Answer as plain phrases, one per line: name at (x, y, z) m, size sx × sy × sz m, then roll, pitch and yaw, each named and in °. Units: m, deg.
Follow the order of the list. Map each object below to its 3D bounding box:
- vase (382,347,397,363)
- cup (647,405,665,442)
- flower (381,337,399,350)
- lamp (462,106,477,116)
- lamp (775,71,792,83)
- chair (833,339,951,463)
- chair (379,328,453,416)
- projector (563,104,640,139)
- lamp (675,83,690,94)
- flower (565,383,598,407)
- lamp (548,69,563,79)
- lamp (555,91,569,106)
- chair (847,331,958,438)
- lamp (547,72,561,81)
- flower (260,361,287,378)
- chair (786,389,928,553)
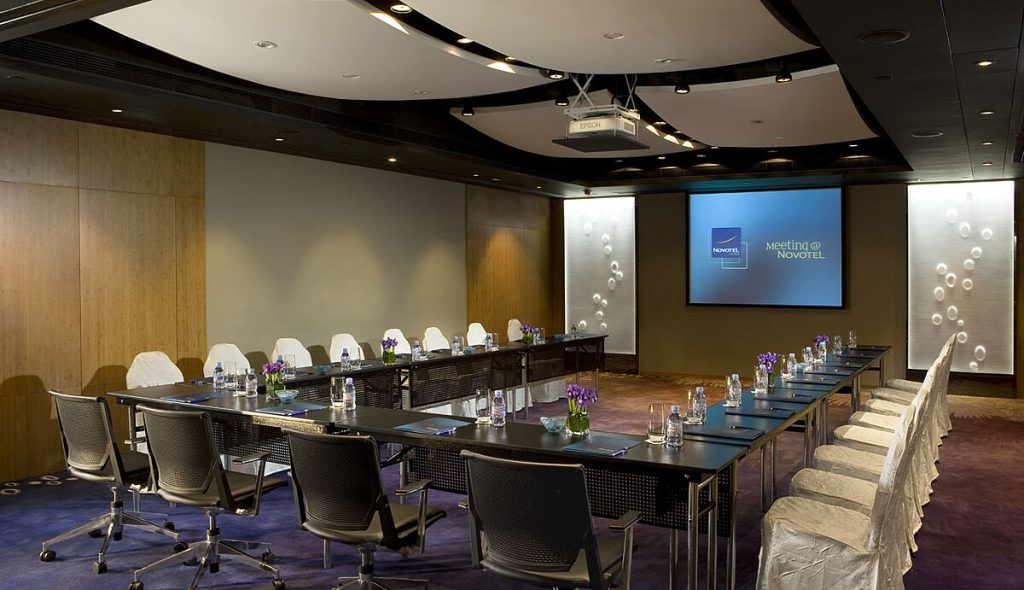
vase at (-1.674, 0.787, 8.989) m, size 0.214 × 0.238 × 0.215 m, roll -3°, pitch -3°, yaw 36°
cup at (1.231, 1.086, 5.690) m, size 0.147 × 0.322 × 0.130 m, roll -2°, pitch 6°, yaw 5°
flower at (-1.686, 0.647, 9.104) m, size 0.179 × 0.112 × 0.173 m, roll 1°, pitch -6°, yaw -8°
lamp at (-0.632, -2.659, 9.739) m, size 0.159 × 0.131 × 0.151 m, roll 0°, pitch -3°, yaw -21°
lamp at (3.348, -2.676, 8.236) m, size 0.177 × 0.110 × 0.204 m, roll 1°, pitch 5°, yaw 27°
chair at (4.821, 1.306, 8.497) m, size 0.628 × 0.812 × 1.601 m, roll 5°, pitch 8°, yaw 36°
chair at (-1.482, 1.061, 9.493) m, size 0.960 × 1.091 × 1.631 m, roll -1°, pitch 0°, yaw 24°
projector at (1.200, -2.078, 8.177) m, size 0.560 × 0.251 × 0.583 m, roll 1°, pitch 1°, yaw 31°
lamp at (2.213, -2.671, 8.699) m, size 0.190 × 0.109 × 0.326 m, roll -1°, pitch 4°, yaw 15°
flower at (0.578, 0.877, 5.961) m, size 0.325 × 0.214 × 0.329 m, roll 0°, pitch -1°, yaw 37°
lamp at (0.546, -2.759, 8.440) m, size 0.141 × 0.097 × 0.297 m, roll 0°, pitch 5°, yaw 24°
lamp at (0.686, -2.700, 9.270) m, size 0.193 × 0.161 × 0.356 m, roll -1°, pitch 4°, yaw 5°
chair at (5.523, 1.209, 9.389) m, size 0.828 × 0.963 × 1.513 m, roll 5°, pitch 6°, yaw 36°
lamp at (0.519, -2.755, 8.417) m, size 0.138 × 0.053 × 0.131 m, roll -1°, pitch -5°, yaw -1°
flower at (-2.579, 0.789, 7.240) m, size 0.209 × 0.134 × 0.213 m, roll -5°, pitch -6°, yaw 43°
chair at (3.246, 1.655, 6.270) m, size 0.870 × 1.134 × 1.680 m, roll 7°, pitch 5°, yaw 36°
